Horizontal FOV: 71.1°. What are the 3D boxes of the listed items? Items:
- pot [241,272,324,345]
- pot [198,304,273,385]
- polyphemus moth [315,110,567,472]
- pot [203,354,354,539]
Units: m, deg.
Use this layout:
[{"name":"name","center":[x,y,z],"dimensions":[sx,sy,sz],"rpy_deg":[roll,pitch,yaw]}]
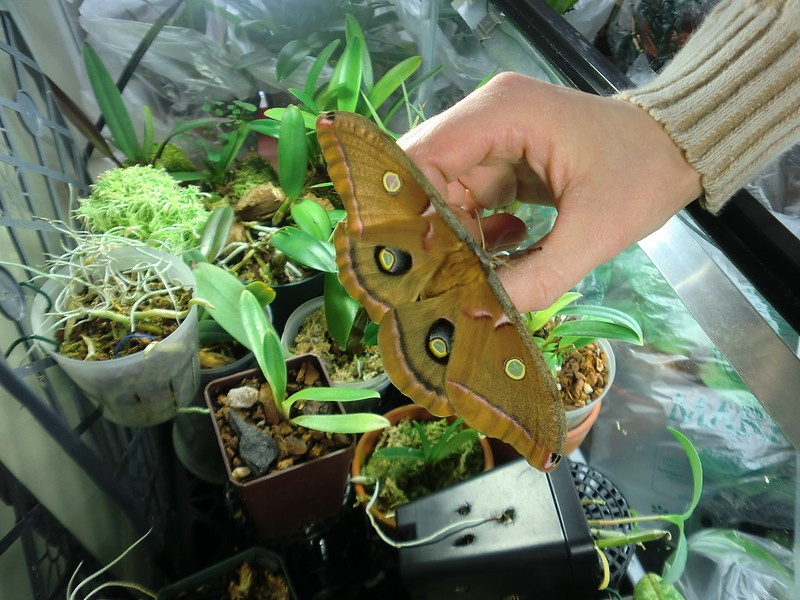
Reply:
[{"name":"pot","center":[-0.321,0.030,1.564],"dimensions":[0.152,0.174,0.173],"rpy_deg":[6,-4,-15]},{"name":"pot","center":[-0.418,0.108,1.443],"dimensions":[0.175,0.189,0.140],"rpy_deg":[1,0,4]},{"name":"polyphemus moth","center":[0.144,-0.026,0.983],"dimensions":[0.109,0.326,0.720],"rpy_deg":[-25,89,-42]},{"name":"pot","center":[-0.263,0.320,1.220],"dimensions":[0.283,0.365,0.269],"rpy_deg":[0,58,0]}]
